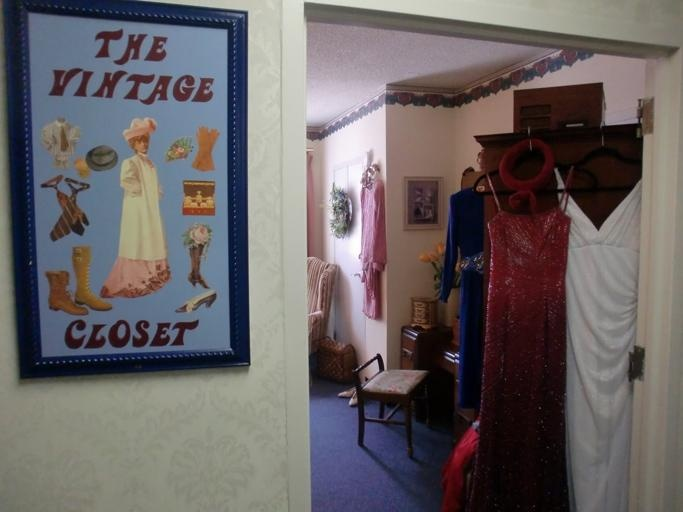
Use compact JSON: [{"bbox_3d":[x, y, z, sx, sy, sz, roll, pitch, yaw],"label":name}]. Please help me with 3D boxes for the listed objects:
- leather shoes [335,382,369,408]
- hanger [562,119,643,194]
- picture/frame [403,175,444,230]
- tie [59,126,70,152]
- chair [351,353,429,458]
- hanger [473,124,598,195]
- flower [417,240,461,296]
[{"bbox_3d":[0.086,1.128,4.839,0.172,0.094,0.235,2,4,42],"label":"leather shoes"},{"bbox_3d":[1.189,-0.435,2.666,0.316,0.222,0.024,3,7,16],"label":"hanger"},{"bbox_3d":[0.652,-0.447,4.776,0.377,0.512,0.032,-2,5,-22],"label":"picture/frame"},{"bbox_3d":[-0.850,-0.356,1.794,0.025,0.076,0.007,0,7,2],"label":"tie"},{"bbox_3d":[0.344,0.931,4.168,0.472,0.655,0.678,-1,5,16],"label":"chair"},{"bbox_3d":[0.879,-0.375,2.773,0.493,0.272,0.280,-2,-2,28],"label":"hanger"},{"bbox_3d":[0.749,0.064,4.631,0.400,0.459,0.337,-2,15,6],"label":"flower"}]
